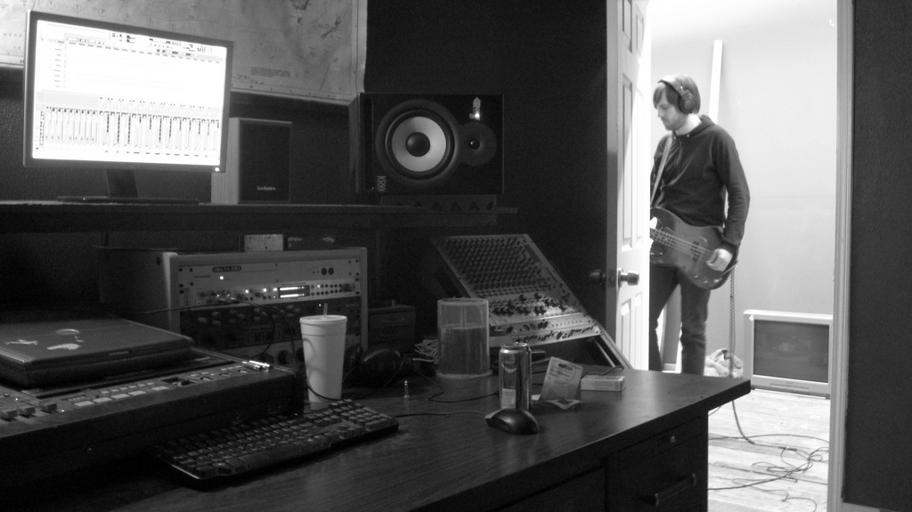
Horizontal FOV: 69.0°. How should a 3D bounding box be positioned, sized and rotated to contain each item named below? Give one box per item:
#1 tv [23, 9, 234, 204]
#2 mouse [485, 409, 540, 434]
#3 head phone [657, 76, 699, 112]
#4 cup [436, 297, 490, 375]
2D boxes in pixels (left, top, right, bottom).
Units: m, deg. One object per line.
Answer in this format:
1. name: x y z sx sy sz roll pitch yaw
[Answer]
1. tv: -1.141 -0.515 2.270 0.767 0.622 0.241 2 -6 -28
2. mouse: 0.181 0.492 2.026 0.123 0.039 0.075 4 6 41
3. head phone: 1.607 -1.159 4.745 0.299 0.259 0.289 -6 11 6
4. cup: 0.028 0.303 2.471 0.252 0.268 0.256 -1 -4 0
